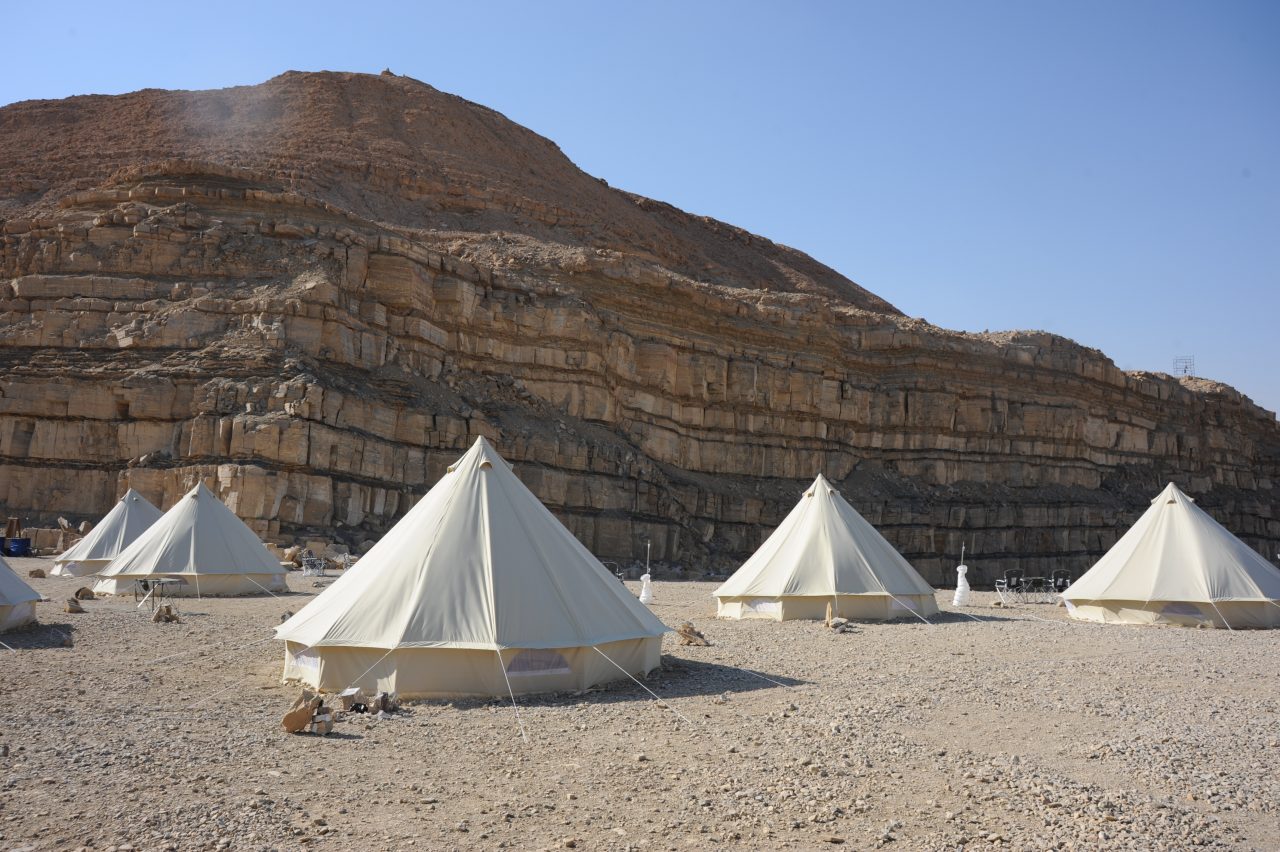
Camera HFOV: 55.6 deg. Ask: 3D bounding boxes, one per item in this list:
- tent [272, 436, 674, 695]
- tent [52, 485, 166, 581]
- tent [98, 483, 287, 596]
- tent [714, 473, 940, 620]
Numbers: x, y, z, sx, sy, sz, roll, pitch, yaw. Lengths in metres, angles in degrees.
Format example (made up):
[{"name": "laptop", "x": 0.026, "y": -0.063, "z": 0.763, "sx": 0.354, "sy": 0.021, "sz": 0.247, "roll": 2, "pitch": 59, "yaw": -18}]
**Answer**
[{"name": "tent", "x": -2.891, "y": 2.892, "z": 21.323, "sx": 5.506, "sy": 3.303, "sz": 2.302, "roll": 0, "pitch": 9, "yaw": -6}, {"name": "tent", "x": -14.448, "y": 3.071, "z": 34.013, "sx": 3.520, "sy": 1.886, "sz": 3.615, "roll": -5, "pitch": 1, "yaw": -4}, {"name": "tent", "x": -11.174, "y": 2.680, "z": 30.749, "sx": 3.248, "sy": 2.033, "sz": 3.076, "roll": 2, "pitch": 16, "yaw": -30}, {"name": "tent", "x": 4.418, "y": 3.497, "z": 29.643, "sx": 3.906, "sy": 2.555, "sz": 3.978, "roll": 5, "pitch": -7, "yaw": -15}]
